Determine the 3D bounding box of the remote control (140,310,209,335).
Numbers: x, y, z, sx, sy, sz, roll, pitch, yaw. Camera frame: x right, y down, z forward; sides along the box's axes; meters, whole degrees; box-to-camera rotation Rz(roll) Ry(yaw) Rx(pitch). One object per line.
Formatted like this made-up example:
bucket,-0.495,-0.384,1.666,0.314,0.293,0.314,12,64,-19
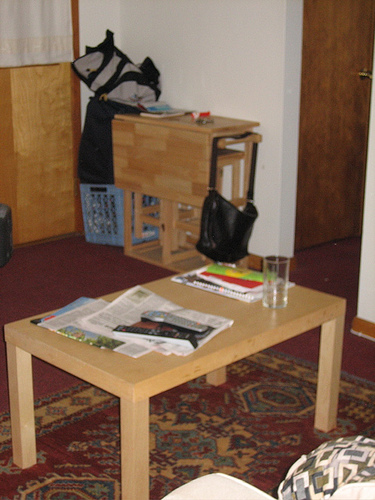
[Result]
remote control,-0.032,0.189,1.306,0.159,0.016,0.066,12,16,27

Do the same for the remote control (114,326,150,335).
remote control,-0.139,0.207,1.252,0.060,0.006,0.030,6,4,18

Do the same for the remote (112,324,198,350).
remote,-0.076,0.220,1.228,0.254,0.038,0.069,5,19,17
